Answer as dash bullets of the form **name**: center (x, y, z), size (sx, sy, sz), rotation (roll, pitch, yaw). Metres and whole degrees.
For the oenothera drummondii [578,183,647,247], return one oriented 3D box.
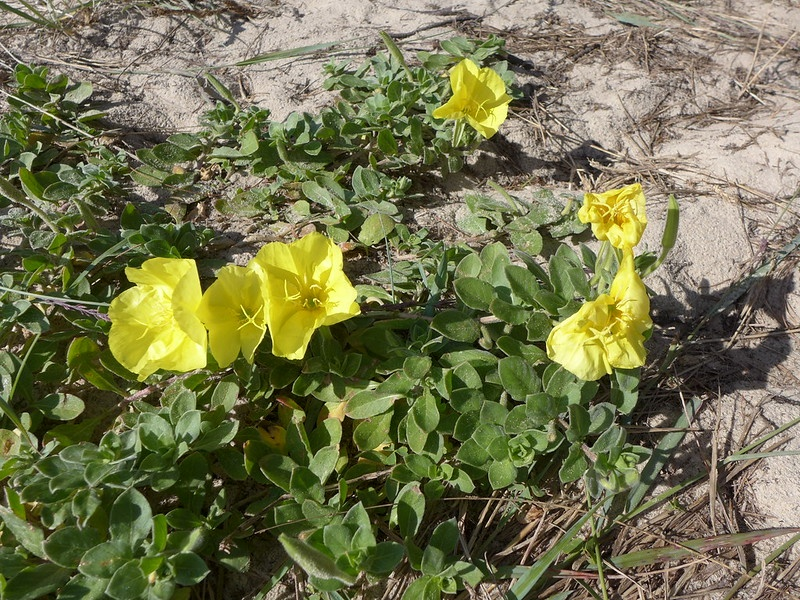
- **oenothera drummondii**: center (0.666, -0.266, 2.325), size (0.223, 0.190, 0.105), rotation (4, -8, 27)

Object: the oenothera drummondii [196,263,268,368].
- **oenothera drummondii**: center (-0.518, 0.085, 2.292), size (0.189, 0.356, 0.197), rotation (-6, 36, -30)

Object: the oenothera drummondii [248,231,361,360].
- **oenothera drummondii**: center (-0.302, -0.010, 2.279), size (0.248, 0.326, 0.278), rotation (-8, 36, -32)

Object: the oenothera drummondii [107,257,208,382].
- **oenothera drummondii**: center (-0.725, 0.055, 2.300), size (0.371, 0.375, 0.193), rotation (21, 32, 13)

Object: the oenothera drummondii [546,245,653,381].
- **oenothera drummondii**: center (0.624, 0.035, 2.383), size (0.350, 0.377, 0.204), rotation (12, 15, -2)

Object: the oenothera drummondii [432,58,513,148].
- **oenothera drummondii**: center (0.286, -0.797, 2.902), size (0.134, 0.258, 0.370), rotation (-51, 18, -18)
